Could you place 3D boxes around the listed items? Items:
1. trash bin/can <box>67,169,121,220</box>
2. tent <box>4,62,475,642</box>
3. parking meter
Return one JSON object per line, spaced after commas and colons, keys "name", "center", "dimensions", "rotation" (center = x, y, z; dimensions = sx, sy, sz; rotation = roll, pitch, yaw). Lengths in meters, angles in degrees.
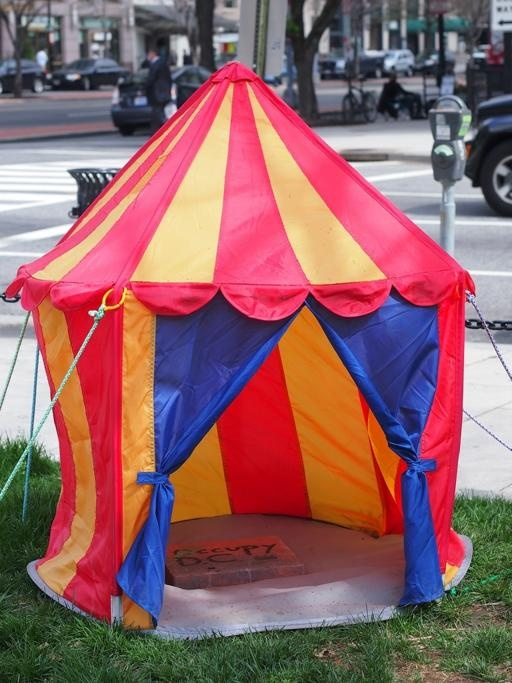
{"name": "trash bin/can", "center": [-1.455, -1.379, 10.962], "dimensions": [0.765, 0.496, 0.726], "rotation": [-1, 8, -5]}
{"name": "tent", "center": [0.211, -0.038, 6.263], "dimensions": [2.654, 2.573, 2.533], "rotation": [-1, 2, -33]}
{"name": "parking meter", "center": [1.024, -0.902, 6.765], "dimensions": [0.306, 0.832, 0.273], "rotation": [-3, 24, -5]}
